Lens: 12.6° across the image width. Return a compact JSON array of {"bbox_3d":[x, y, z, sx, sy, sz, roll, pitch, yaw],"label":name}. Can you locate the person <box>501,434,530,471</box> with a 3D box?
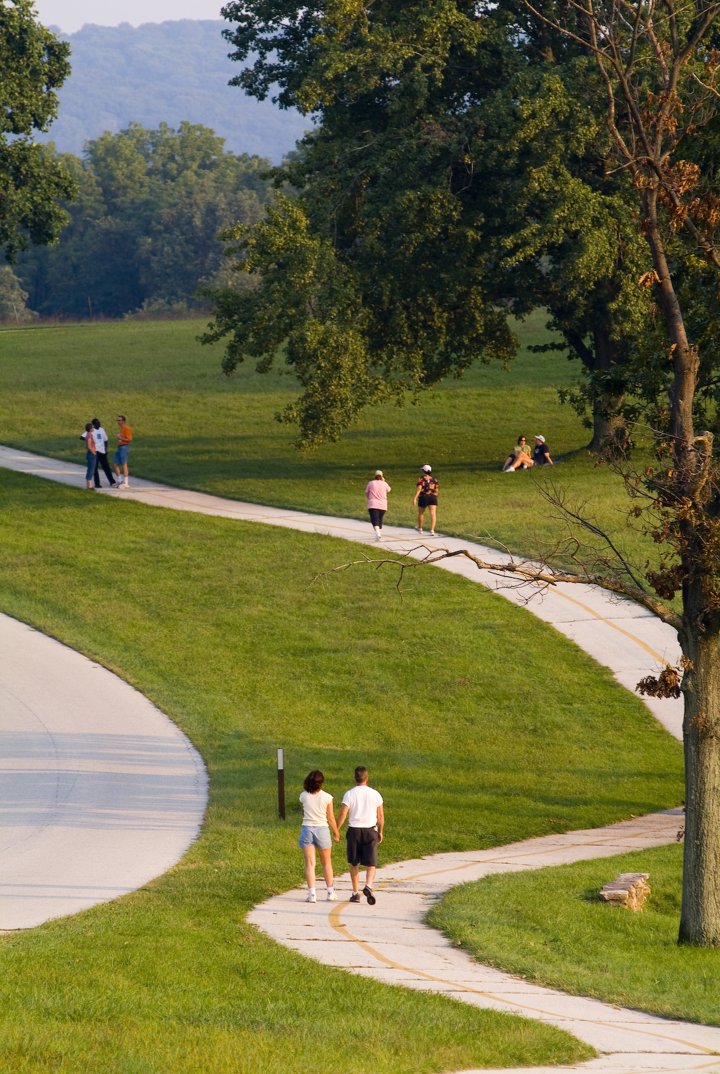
[{"bbox_3d":[4.118,-2.210,86.559,0.727,0.951,1.864,1,6,5],"label":"person"}]

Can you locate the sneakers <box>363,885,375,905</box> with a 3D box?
[{"bbox_3d":[0.201,6.100,56.042,0.229,0.315,0.377,1,5,1],"label":"sneakers"}]

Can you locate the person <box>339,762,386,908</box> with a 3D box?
[{"bbox_3d":[0.033,5.101,56.291,0.704,2.245,1.045,1,5,0],"label":"person"}]

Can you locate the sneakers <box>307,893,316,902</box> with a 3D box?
[{"bbox_3d":[-0.770,6.133,56.012,0.150,0.146,0.233,0,6,-7],"label":"sneakers"}]

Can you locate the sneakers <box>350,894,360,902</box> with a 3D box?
[{"bbox_3d":[-0.055,6.163,56.122,0.149,0.114,0.204,0,6,-7],"label":"sneakers"}]

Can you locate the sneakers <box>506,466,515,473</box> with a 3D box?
[{"bbox_3d":[3.953,-1.799,86.366,0.192,0.161,0.496,4,6,26],"label":"sneakers"}]

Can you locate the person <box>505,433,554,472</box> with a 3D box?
[{"bbox_3d":[4.399,-2.241,86.948,1.177,0.840,0.939,-4,13,-31],"label":"person"}]
